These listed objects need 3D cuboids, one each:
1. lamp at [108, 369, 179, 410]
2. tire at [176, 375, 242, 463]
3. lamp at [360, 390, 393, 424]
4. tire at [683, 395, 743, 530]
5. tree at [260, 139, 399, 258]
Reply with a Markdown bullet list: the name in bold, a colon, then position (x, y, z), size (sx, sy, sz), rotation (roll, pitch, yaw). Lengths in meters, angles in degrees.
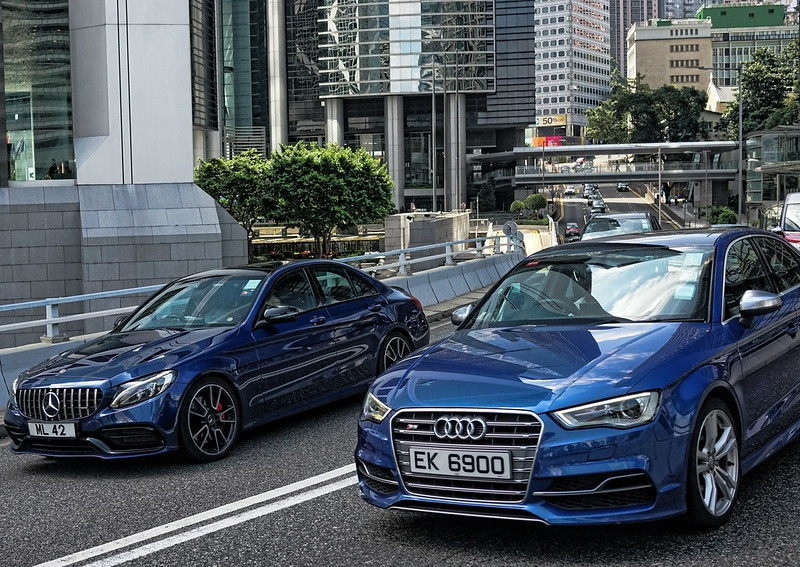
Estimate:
- **lamp**: position (-2.291, 0.958, 7.054), size (0.570, 0.271, 0.094), rotation (-6, 8, -18)
- **tire**: position (-1.810, 1.277, 7.355), size (0.238, 0.749, 0.686), rotation (-12, -20, 35)
- **lamp**: position (-0.163, 0.854, 5.383), size (0.160, 0.211, 0.084), rotation (29, 5, 25)
- **tire**: position (2.045, 1.202, 5.213), size (0.184, 0.789, 0.692), rotation (0, 24, 36)
- **tree**: position (-5.348, -7.208, 61.266), size (10.660, 10.194, 8.643), rotation (0, 2, -9)
